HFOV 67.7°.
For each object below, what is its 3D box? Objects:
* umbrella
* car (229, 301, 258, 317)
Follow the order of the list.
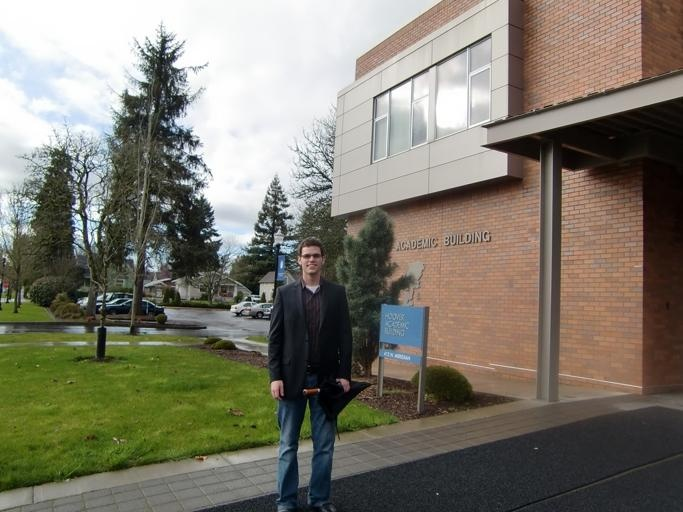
[{"bbox_3d":[-0.047,1.572,5.630,0.507,0.537,0.188,7,-21,26],"label":"umbrella"},{"bbox_3d":[-8.604,4.549,43.940,1.013,0.837,2.369,0,2,21],"label":"car"}]
